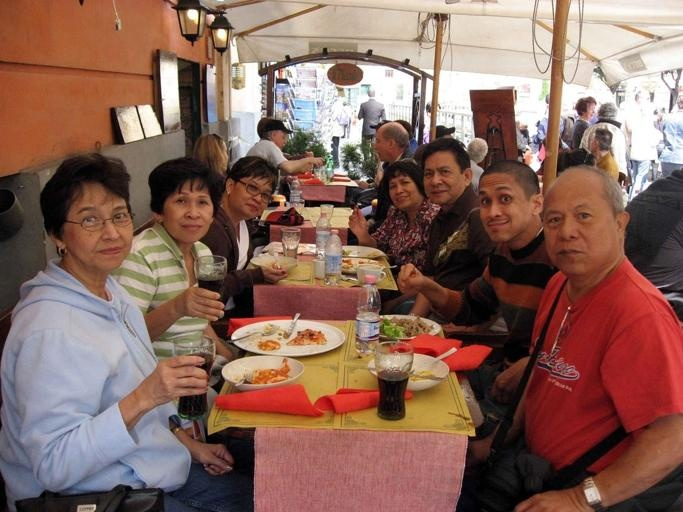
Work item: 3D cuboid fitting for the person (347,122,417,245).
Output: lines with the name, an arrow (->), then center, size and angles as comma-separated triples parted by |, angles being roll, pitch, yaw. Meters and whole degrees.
person -> 0.506, -0.804, 7.019 | 1.138, 1.986, 0.867 | 0, 14, 3

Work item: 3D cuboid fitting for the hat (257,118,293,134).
hat -> -1.082, -2.106, 8.097 | 0.489, 0.235, 0.327 | -6, 14, -20

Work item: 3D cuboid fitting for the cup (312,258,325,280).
cup -> -0.149, 0.090, 3.513 | 0.122, 0.130, 0.119 | 2, 13, 0

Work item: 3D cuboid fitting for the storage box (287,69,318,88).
storage box -> -1.628, -7.816, 21.961 | 1.196, 0.816, 0.578 | -2, 18, -5

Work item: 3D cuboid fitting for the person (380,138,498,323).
person -> 0.668, -0.192, 3.987 | 1.232, 1.382, 0.954 | 1, 15, -1

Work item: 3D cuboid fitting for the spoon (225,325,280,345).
spoon -> -0.428, 0.394, 2.565 | 0.090, 0.040, 0.299 | 12, 13, 29

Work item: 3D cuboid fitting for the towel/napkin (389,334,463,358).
towel/napkin -> 0.452, 0.431, 2.446 | 0.168, 0.042, 0.164 | -1, 8, -8

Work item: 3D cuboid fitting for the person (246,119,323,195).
person -> -0.916, -1.671, 7.931 | 1.163, 0.906, 0.846 | 7, 14, -5

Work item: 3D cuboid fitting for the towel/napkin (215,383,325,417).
towel/napkin -> -0.285, 0.561, 2.006 | 0.467, 0.145, 0.125 | 1, 52, 6

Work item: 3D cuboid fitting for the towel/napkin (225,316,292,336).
towel/napkin -> -0.454, 0.348, 2.726 | 0.264, 0.059, 0.151 | -5, 15, -9

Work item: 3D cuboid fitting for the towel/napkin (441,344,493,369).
towel/napkin -> 0.592, 0.472, 2.325 | 0.154, 0.045, 0.151 | -11, 12, -1
